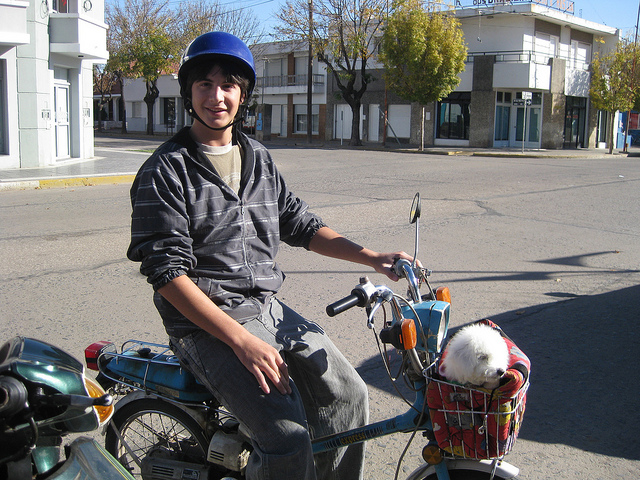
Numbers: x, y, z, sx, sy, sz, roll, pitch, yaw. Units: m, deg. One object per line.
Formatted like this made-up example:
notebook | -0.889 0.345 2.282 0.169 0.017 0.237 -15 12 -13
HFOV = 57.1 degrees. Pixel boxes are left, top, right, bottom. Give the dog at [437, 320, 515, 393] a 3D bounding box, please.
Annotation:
dog | 0.643 0.487 2.344 0.191 0.236 0.283 1 2 -14

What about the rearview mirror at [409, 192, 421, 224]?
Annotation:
rearview mirror | 0.444 -0.144 2.746 0.028 0.133 0.126 12 -30 1

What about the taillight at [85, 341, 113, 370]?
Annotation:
taillight | -1.163 0.625 3.092 0.090 0.128 0.163 1 7 4

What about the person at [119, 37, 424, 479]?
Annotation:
person | -0.300 0.107 2.731 1.090 2.035 0.948 2 11 5

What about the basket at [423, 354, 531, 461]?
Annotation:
basket | 0.614 0.709 2.326 0.327 0.368 0.451 1 12 14
